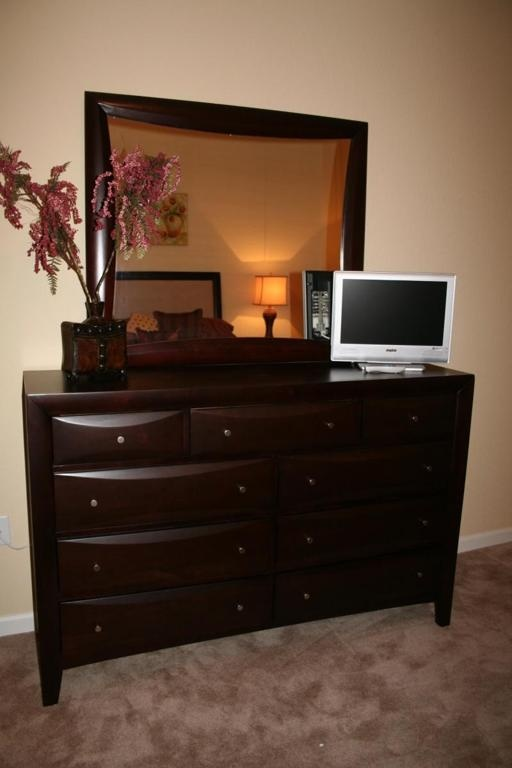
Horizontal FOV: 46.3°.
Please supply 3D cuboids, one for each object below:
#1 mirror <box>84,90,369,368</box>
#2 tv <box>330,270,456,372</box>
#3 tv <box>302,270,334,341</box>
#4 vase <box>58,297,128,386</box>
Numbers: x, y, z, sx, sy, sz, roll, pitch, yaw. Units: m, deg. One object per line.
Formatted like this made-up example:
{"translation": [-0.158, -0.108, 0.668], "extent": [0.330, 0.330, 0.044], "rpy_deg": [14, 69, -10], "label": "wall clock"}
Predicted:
{"translation": [-0.131, -0.527, 2.024], "extent": [0.966, 0.727, 0.045], "rpy_deg": [-2, 7, -20], "label": "mirror"}
{"translation": [0.463, -0.215, 2.049], "extent": [0.338, 0.298, 0.114], "rpy_deg": [1, 4, -5], "label": "tv"}
{"translation": [0.233, -0.292, 2.244], "extent": [0.142, 0.274, 0.025], "rpy_deg": [-8, 12, -32], "label": "tv"}
{"translation": [-0.453, -0.107, 1.780], "extent": [0.165, 0.224, 0.119], "rpy_deg": [-3, -4, -12], "label": "vase"}
